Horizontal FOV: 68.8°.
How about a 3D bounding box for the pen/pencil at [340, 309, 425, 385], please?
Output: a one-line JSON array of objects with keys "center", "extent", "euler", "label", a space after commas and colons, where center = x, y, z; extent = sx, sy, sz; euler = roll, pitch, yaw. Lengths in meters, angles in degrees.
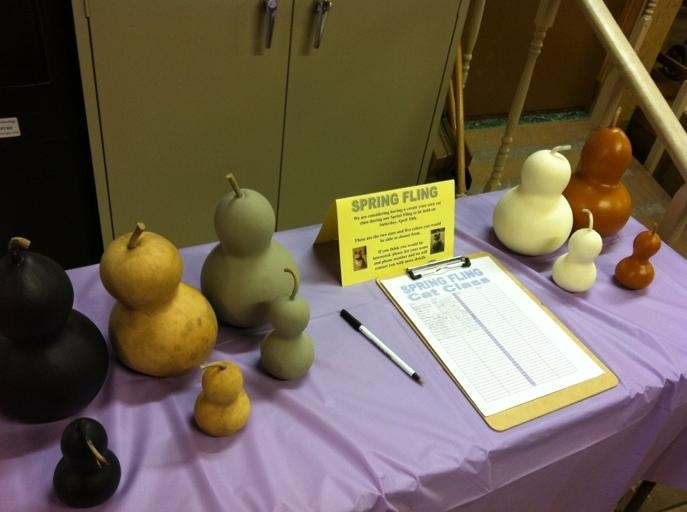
[{"center": [0.080, 0.199, 1.065], "extent": [0.017, 0.020, 0.170], "euler": [-28, 66, -32], "label": "pen/pencil"}]
